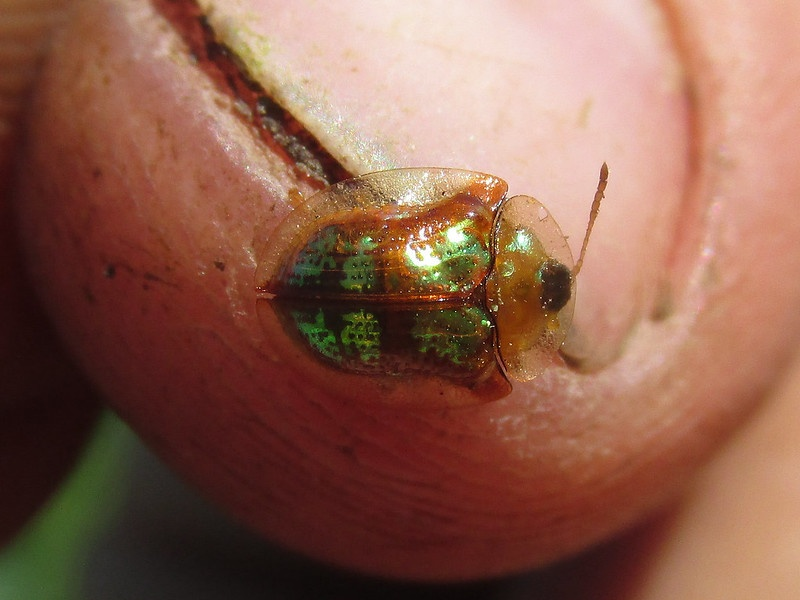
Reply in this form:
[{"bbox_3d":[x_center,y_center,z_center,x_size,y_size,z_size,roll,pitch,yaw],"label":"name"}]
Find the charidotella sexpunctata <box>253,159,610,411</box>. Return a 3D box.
[{"bbox_3d":[0.123,-0.052,3.143,0.807,1.136,0.820,-1,86,28],"label":"charidotella sexpunctata"}]
